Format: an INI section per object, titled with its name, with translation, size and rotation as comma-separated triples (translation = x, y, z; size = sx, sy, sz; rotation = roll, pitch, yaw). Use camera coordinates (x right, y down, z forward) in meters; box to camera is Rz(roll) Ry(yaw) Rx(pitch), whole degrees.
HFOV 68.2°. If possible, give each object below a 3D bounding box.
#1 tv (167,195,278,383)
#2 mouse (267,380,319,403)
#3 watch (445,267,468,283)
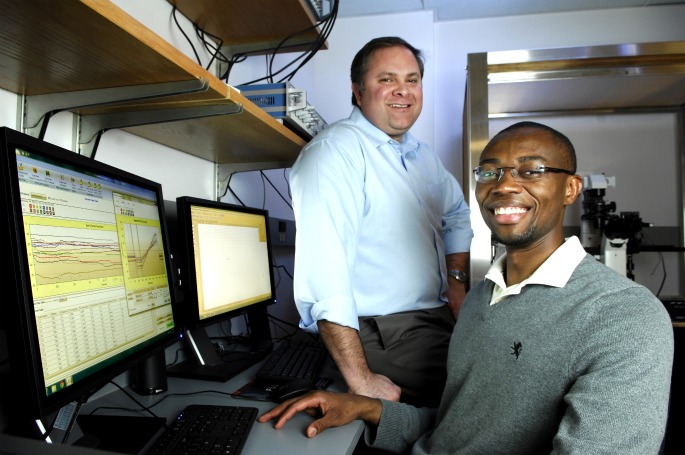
[tv]
translation = -0.475, 0.246, 1.967
size = 0.294, 0.591, 0.726
rotation = -3, 2, 17
[mouse]
translation = -0.158, 0.517, 1.602
size = 0.124, 0.028, 0.069
rotation = -1, 4, 4
[watch]
translation = 0.535, 0.217, 2.384
size = 0.095, 0.058, 0.084
rotation = -8, -27, 41
